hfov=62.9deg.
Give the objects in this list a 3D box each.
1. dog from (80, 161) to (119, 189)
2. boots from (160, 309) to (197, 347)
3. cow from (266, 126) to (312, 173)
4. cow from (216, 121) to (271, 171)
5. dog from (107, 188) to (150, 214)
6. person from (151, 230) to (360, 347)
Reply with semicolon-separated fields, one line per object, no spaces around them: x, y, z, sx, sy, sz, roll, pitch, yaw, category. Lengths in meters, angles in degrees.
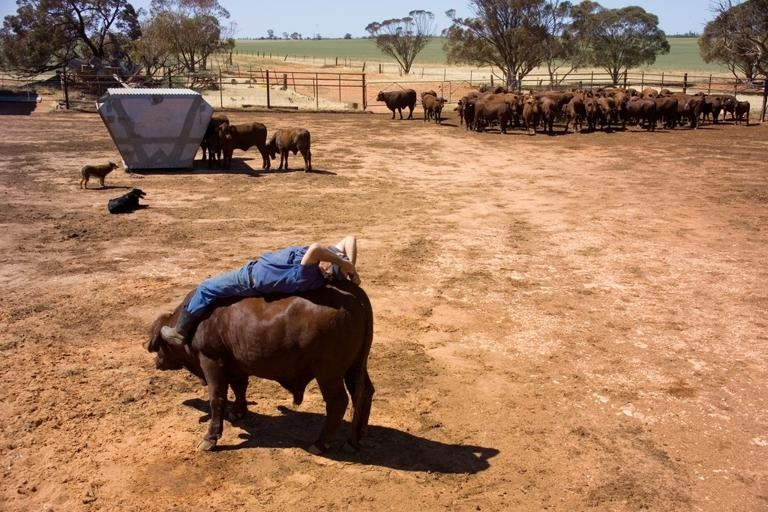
-7.932;-2.251;17.284;0.952;0.606;1.204;-11;19;-27;dog
-2.545;0.872;7.778;0.451;0.419;0.228;11;0;30;boots
-2.920;-3.479;20.087;2.097;1.297;1.294;10;21;35;cow
-4.454;-3.501;19.940;1.483;1.449;0.960;-7;18;-14;cow
-6.315;-1.349;15.295;0.448;0.527;1.141;24;30;32;dog
-1.566;0.407;7.611;2.450;0.695;0.896;-16;1;-5;person
